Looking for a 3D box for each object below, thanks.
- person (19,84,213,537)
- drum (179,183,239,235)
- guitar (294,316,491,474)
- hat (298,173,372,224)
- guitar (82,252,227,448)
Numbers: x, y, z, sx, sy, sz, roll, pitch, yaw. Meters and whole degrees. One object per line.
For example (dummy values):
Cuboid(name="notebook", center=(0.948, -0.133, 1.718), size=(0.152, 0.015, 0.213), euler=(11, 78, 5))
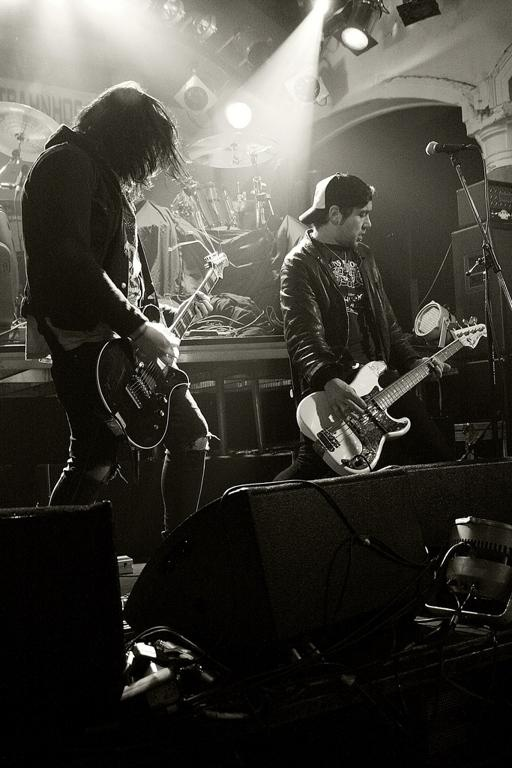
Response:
Cuboid(name="person", center=(-0.396, -0.260, 1.484), size=(0.376, 0.983, 0.569), euler=(-2, 1, 24))
Cuboid(name="drum", center=(-0.386, -1.414, 4.914), size=(0.408, 0.469, 0.159), euler=(-20, 3, -23))
Cuboid(name="guitar", center=(0.558, -0.005, 2.429), size=(0.935, 0.345, 0.131), euler=(-37, 2, -34))
Cuboid(name="hat", center=(0.317, -0.732, 2.456), size=(0.262, 0.162, 0.172), euler=(-8, 26, 20))
Cuboid(name="guitar", center=(-0.319, -0.114, 1.714), size=(0.063, 0.234, 0.584), euler=(-10, 41, 29))
